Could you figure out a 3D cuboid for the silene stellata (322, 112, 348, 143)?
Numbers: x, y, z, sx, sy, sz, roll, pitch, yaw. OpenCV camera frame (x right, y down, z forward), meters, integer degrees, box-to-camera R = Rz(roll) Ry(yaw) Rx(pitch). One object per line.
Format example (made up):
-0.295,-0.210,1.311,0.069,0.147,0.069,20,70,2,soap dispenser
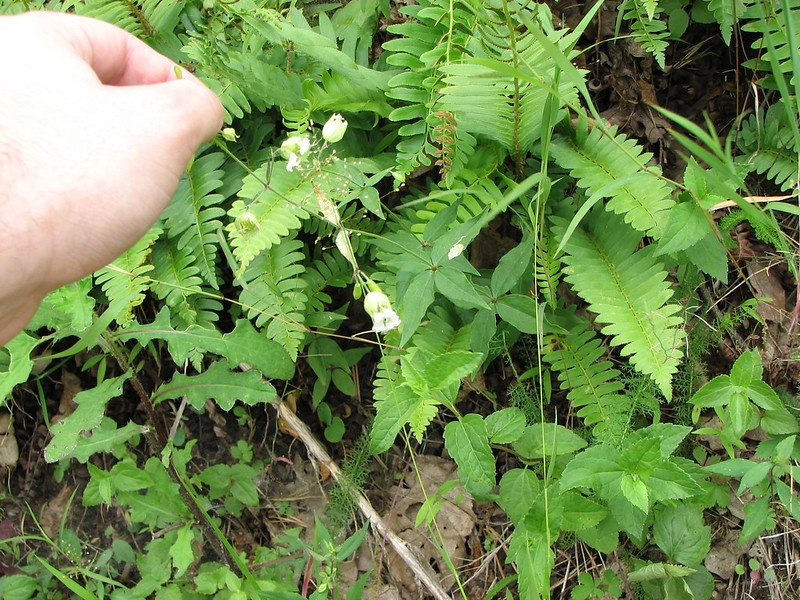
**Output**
-0.231,-0.602,2.379,0.084,0.066,0.163,-29,17,-2,silene stellata

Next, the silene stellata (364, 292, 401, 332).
-0.053,0.046,2.275,0.094,0.144,0.054,-21,12,13,silene stellata

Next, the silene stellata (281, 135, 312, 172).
-0.353,-0.513,2.333,0.108,0.086,0.259,-29,17,-1,silene stellata
